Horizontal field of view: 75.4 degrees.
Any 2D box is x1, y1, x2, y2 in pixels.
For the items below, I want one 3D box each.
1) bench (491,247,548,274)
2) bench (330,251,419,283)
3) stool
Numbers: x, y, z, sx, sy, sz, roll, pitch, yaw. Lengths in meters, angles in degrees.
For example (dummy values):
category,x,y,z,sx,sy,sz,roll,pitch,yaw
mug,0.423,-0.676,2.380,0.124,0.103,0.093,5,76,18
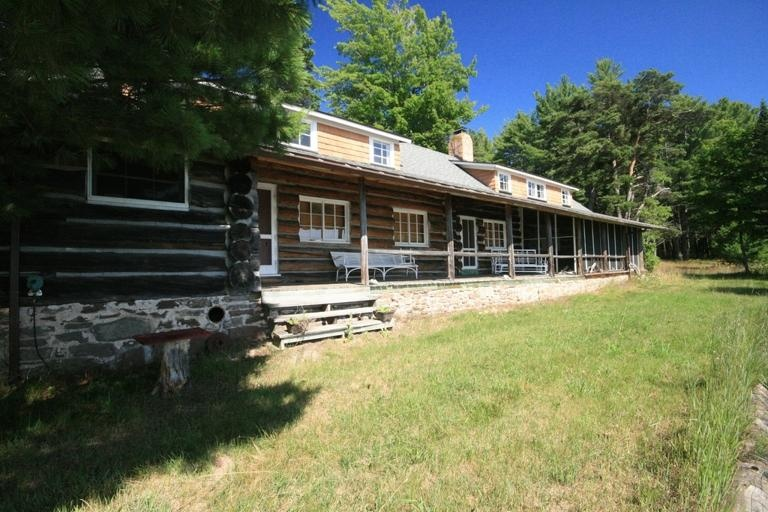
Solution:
category,x,y,z,sx,sy,sz,roll,pitch,yaw
bench,5.196,0.267,18.940,1.818,0.820,3.801,-2,1,30
bench,-0.229,0.325,14.530,1.475,0.846,2.960,-2,1,36
stool,-3.823,1.901,8.942,1.177,1.049,0.856,0,7,-33
